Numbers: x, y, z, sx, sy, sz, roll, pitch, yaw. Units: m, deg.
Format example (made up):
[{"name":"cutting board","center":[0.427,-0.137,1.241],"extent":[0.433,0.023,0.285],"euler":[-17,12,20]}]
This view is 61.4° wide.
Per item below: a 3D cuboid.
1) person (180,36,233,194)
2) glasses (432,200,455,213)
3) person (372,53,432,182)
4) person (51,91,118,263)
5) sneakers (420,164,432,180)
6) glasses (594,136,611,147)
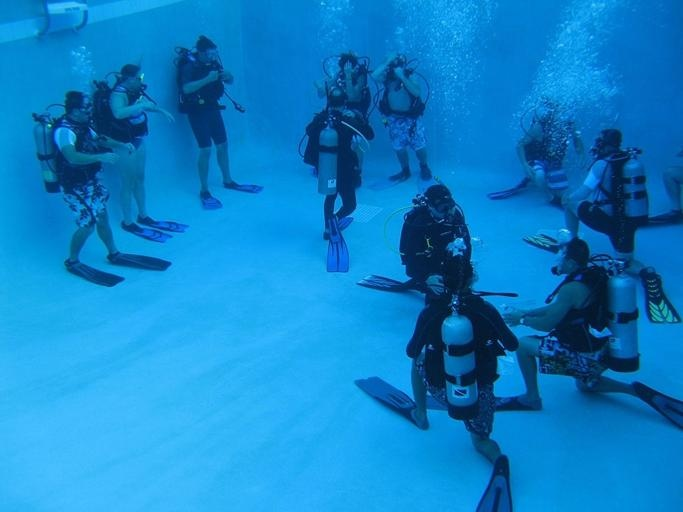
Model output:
[{"name":"person","center":[-2.133,-2.196,9.260],"extent":[0.768,2.446,0.849],"euler":[-9,13,-18]},{"name":"glasses","center":[1.168,-0.553,6.388],"extent":[0.306,0.159,0.157],"euler":[-15,16,-36]},{"name":"person","center":[1.105,-2.370,10.104],"extent":[0.653,2.171,0.857],"euler":[-14,15,-36]},{"name":"person","center":[-3.209,-0.958,7.171],"extent":[0.658,2.078,0.600],"euler":[-11,14,-25]},{"name":"sneakers","center":[1.518,-1.512,10.307],"extent":[0.155,0.137,0.342],"euler":[-10,41,7]},{"name":"glasses","center":[3.299,-1.448,7.230],"extent":[0.120,0.136,0.117],"euler":[29,-25,-30]}]
